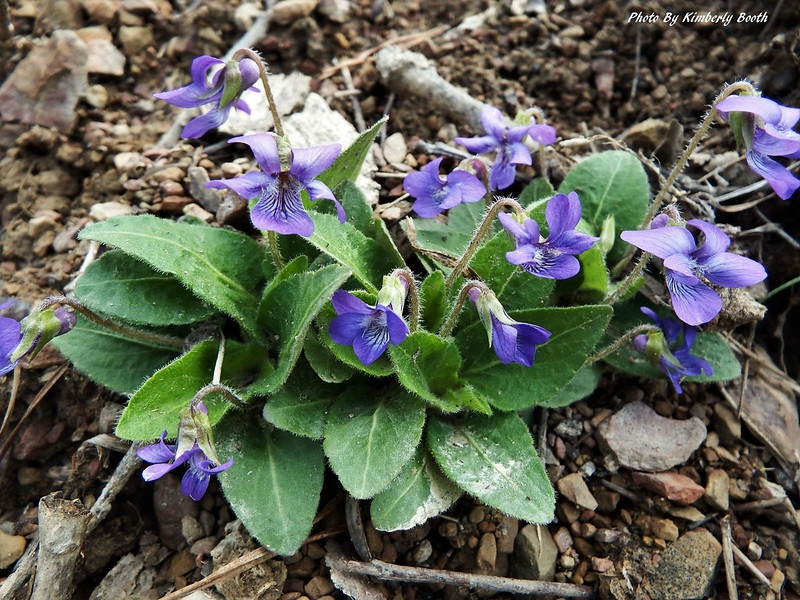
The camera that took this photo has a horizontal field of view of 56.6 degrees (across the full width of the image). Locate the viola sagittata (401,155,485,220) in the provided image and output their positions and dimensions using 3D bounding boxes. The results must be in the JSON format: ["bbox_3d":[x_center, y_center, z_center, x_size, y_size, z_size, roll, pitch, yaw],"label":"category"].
[{"bbox_3d":[0.232,-0.538,3.578,0.320,0.370,0.160,-16,92,-44],"label":"viola sagittata"}]

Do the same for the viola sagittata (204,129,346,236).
[{"bbox_3d":[-0.485,-0.486,3.186,0.456,0.513,0.354,1,8,0],"label":"viola sagittata"}]

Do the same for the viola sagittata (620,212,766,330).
[{"bbox_3d":[1.244,-0.120,3.284,0.479,0.229,0.553,-21,83,-27],"label":"viola sagittata"}]

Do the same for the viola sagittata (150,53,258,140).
[{"bbox_3d":[-0.887,-0.965,3.411,0.407,0.415,0.283,-7,79,-34],"label":"viola sagittata"}]

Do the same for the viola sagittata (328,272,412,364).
[{"bbox_3d":[-0.133,0.097,3.303,0.291,0.417,0.155,18,30,5],"label":"viola sagittata"}]

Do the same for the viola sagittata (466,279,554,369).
[{"bbox_3d":[0.442,0.098,3.300,0.253,0.187,0.433,-21,56,-26],"label":"viola sagittata"}]

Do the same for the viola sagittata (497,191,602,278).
[{"bbox_3d":[0.662,-0.213,3.317,0.370,0.179,0.403,-32,86,-11],"label":"viola sagittata"}]

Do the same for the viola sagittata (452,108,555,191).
[{"bbox_3d":[0.549,-0.776,3.898,0.464,0.230,0.515,5,72,13],"label":"viola sagittata"}]

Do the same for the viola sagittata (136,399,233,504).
[{"bbox_3d":[-0.904,0.601,3.206,0.383,0.442,0.424,2,9,24],"label":"viola sagittata"}]
